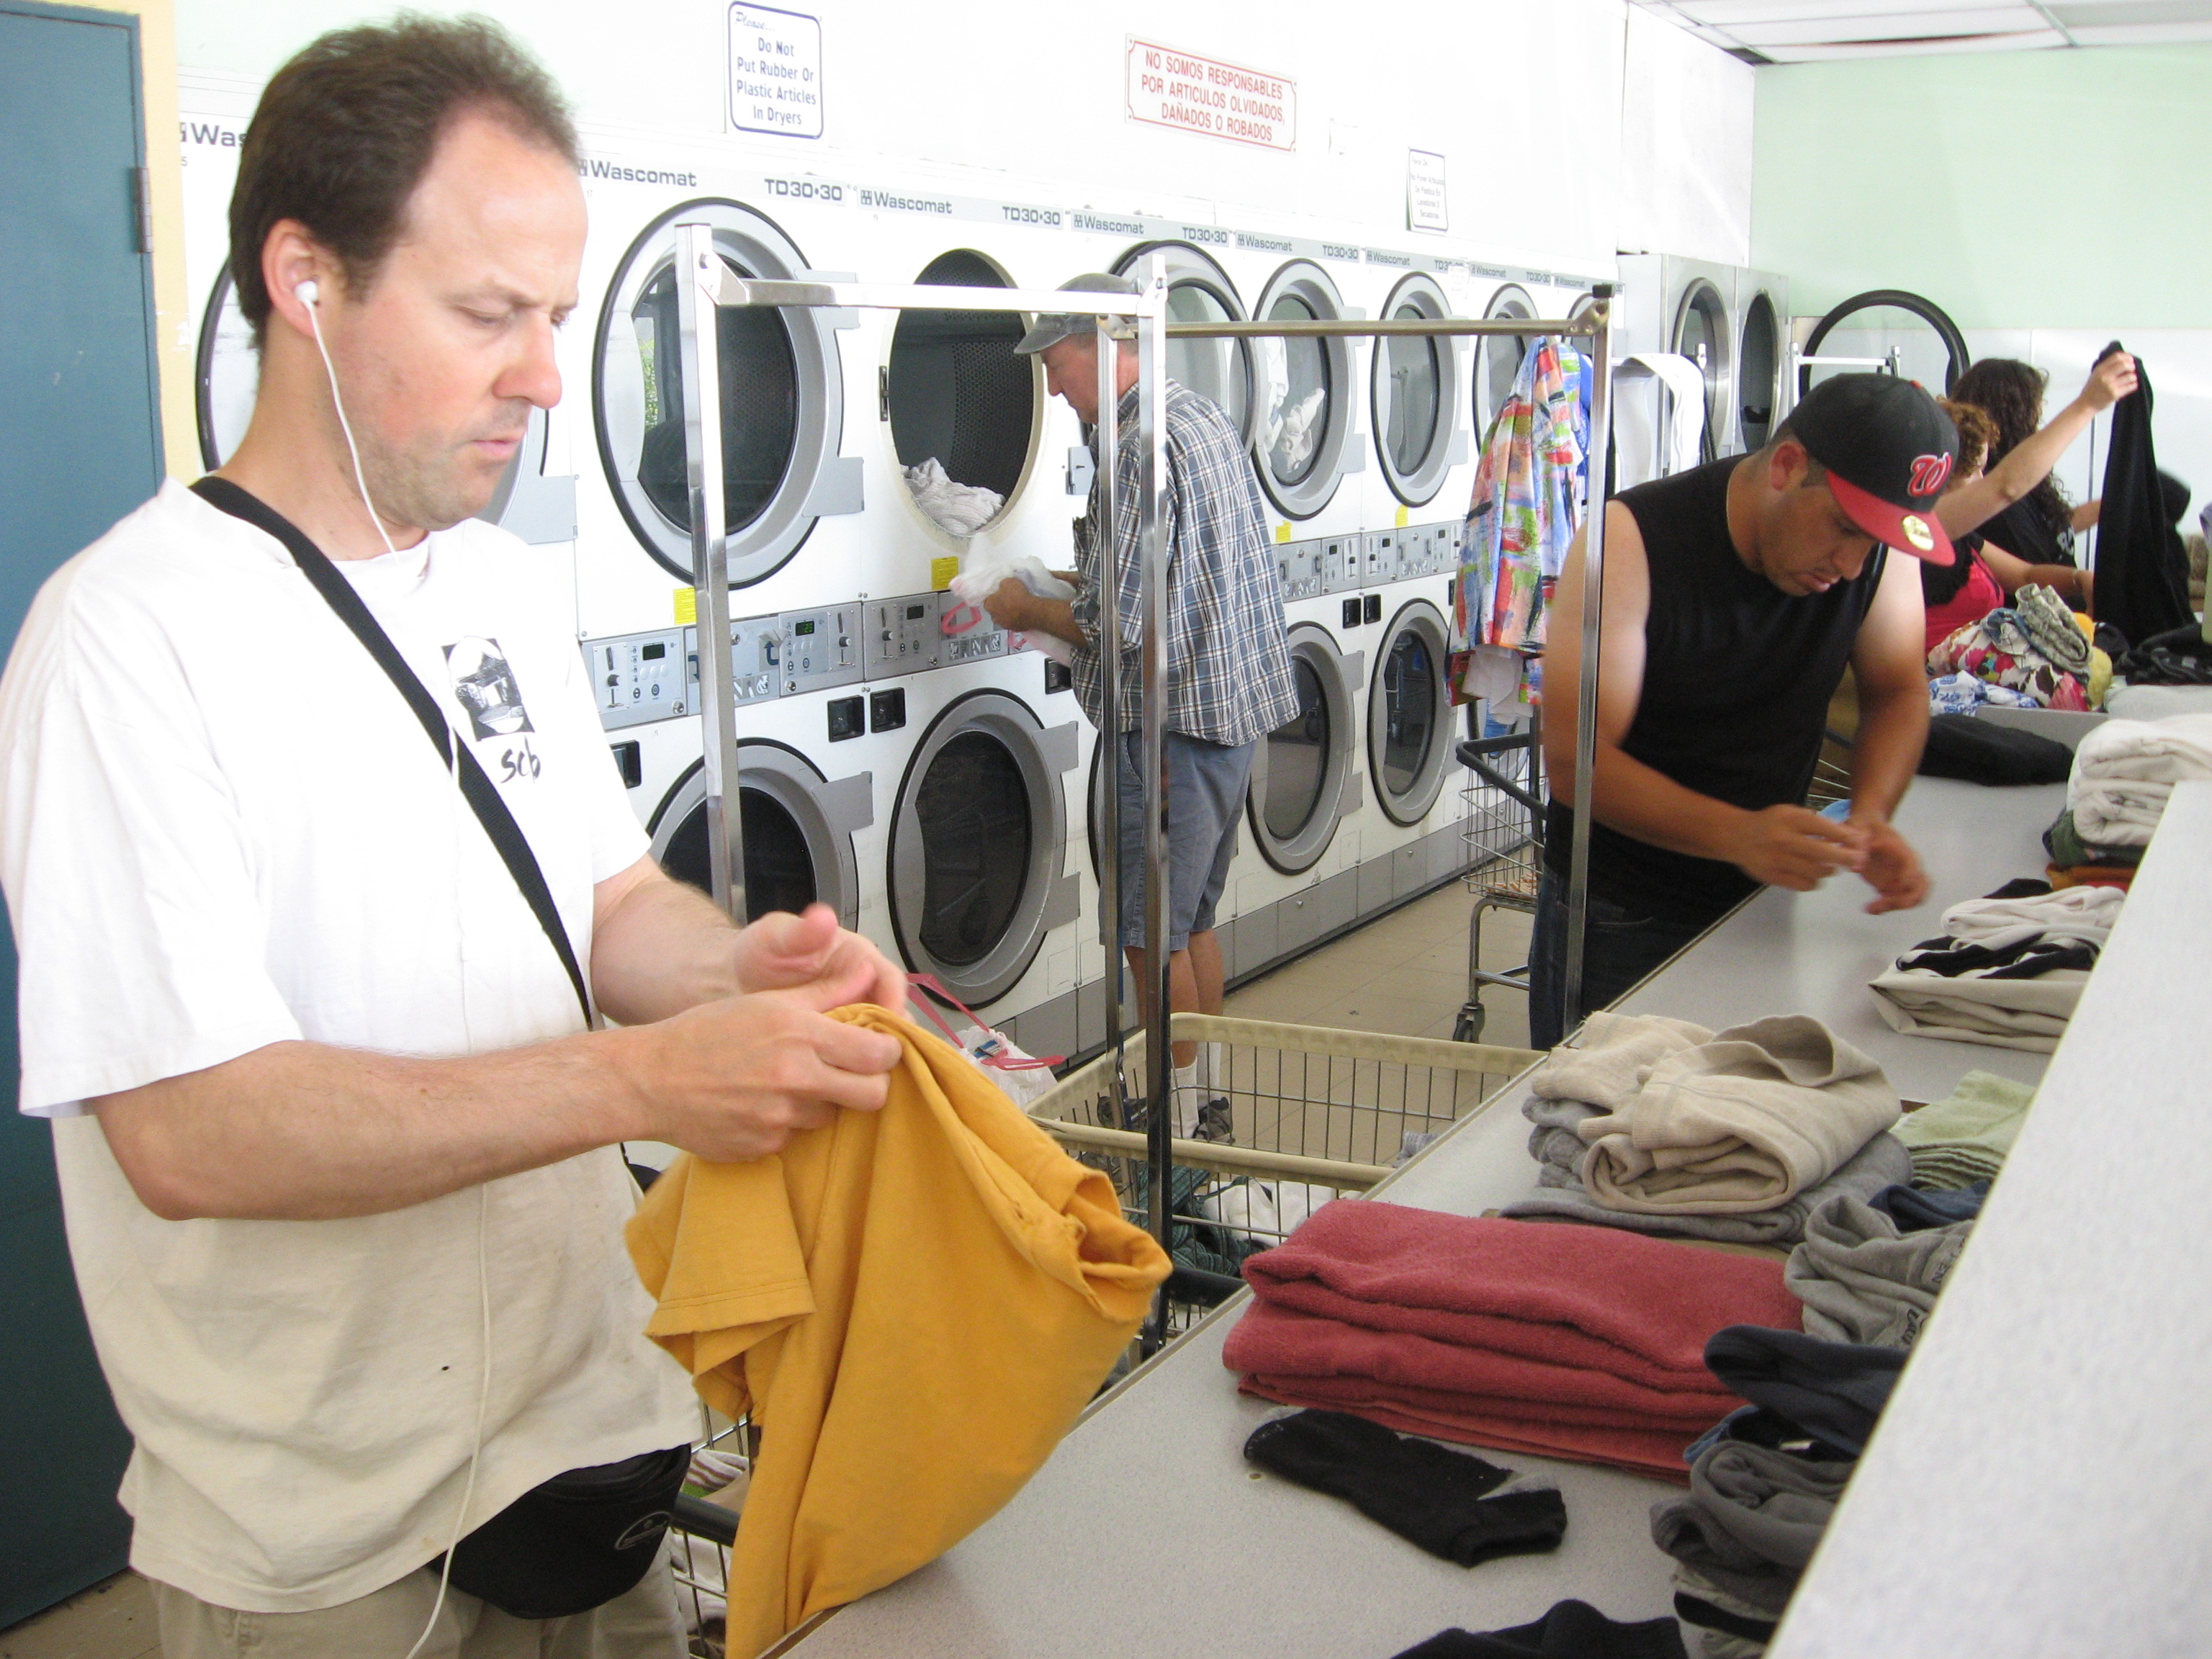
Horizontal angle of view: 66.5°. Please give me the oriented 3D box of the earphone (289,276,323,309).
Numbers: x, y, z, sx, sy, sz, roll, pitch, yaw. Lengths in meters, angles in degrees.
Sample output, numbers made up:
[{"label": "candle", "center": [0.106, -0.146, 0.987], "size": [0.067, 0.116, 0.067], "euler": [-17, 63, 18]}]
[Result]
[{"label": "earphone", "center": [-0.669, -0.451, 1.423], "size": [0.019, 0.024, 0.022], "euler": [1, 12, -9]}]

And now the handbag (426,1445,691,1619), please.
[{"label": "handbag", "center": [-0.505, 0.681, 1.619], "size": [0.169, 0.102, 0.149], "euler": [-16, -21, -24]}]
